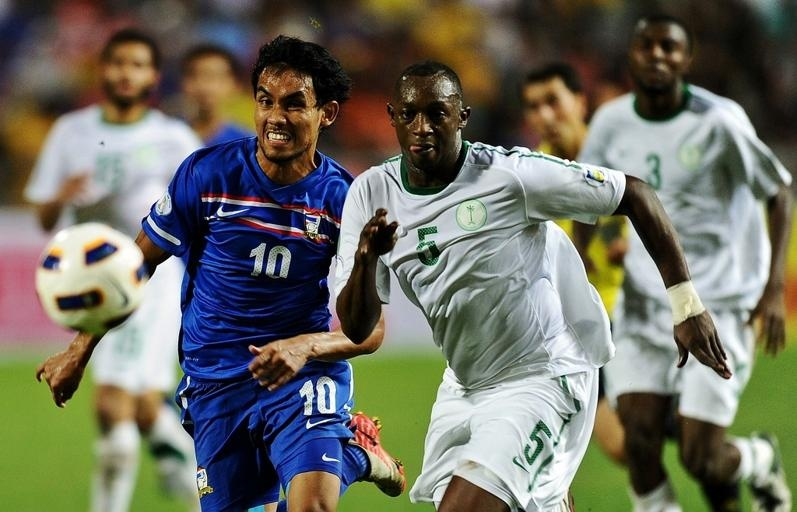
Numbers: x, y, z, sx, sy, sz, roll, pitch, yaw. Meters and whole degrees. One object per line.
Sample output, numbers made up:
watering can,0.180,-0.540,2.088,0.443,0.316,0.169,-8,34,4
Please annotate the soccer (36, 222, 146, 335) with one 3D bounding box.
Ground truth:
soccer,-1.782,0.085,6.584,0.633,0.743,0.636,-6,16,4
